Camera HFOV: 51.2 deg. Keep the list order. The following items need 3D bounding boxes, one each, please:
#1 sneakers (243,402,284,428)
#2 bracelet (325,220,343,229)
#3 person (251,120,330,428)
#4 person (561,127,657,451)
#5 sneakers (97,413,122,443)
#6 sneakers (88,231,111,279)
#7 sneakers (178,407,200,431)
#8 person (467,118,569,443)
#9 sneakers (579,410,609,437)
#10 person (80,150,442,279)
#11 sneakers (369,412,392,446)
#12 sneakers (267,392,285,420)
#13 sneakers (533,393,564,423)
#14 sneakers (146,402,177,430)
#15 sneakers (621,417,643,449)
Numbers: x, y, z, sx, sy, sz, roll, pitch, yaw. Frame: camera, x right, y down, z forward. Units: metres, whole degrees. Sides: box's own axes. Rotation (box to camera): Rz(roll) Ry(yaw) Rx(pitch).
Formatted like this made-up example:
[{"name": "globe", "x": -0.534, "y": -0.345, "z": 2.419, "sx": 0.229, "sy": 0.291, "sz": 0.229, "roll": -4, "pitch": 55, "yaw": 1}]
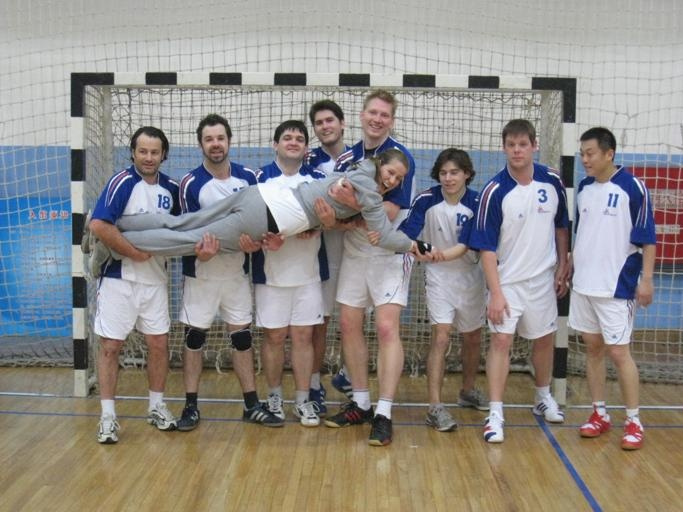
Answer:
[{"name": "sneakers", "x": -0.620, "y": 1.229, "z": 5.520, "sx": 0.349, "sy": 0.190, "sz": 0.143, "roll": 2, "pitch": -2, "yaw": 12}, {"name": "bracelet", "x": -0.069, "y": -0.238, "z": 5.287, "sx": 0.066, "sy": 0.037, "sz": 0.094, "roll": -10, "pitch": -10, "yaw": 17}, {"name": "person", "x": -0.396, "y": 0.155, "z": 5.498, "sx": 0.651, "sy": 2.333, "sz": 0.636, "roll": 0, "pitch": 5, "yaw": -6}, {"name": "person", "x": 1.992, "y": 0.338, "z": 5.272, "sx": 0.574, "sy": 2.032, "sz": 0.568, "roll": 3, "pitch": 12, "yaw": 23}, {"name": "sneakers", "x": -1.726, "y": 1.284, "z": 5.244, "sx": 0.108, "sy": 0.116, "sz": 0.236, "roll": 2, "pitch": 1, "yaw": -16}, {"name": "sneakers", "x": -1.803, "y": 0.012, "z": 5.308, "sx": 0.101, "sy": 0.256, "sz": 0.245, "roll": 5, "pitch": 34, "yaw": -41}, {"name": "sneakers", "x": -1.176, "y": 1.242, "z": 5.433, "sx": 0.169, "sy": 0.156, "sz": 0.130, "roll": -5, "pitch": 12, "yaw": -14}, {"name": "person", "x": 1.389, "y": 0.281, "z": 5.473, "sx": 0.967, "sy": 2.070, "sz": 0.479, "roll": -8, "pitch": 13, "yaw": -27}, {"name": "sneakers", "x": 1.926, "y": 1.299, "z": 5.427, "sx": 0.305, "sy": 0.180, "sz": 0.117, "roll": 5, "pitch": -12, "yaw": -44}, {"name": "person", "x": -0.558, "y": -0.324, "z": 5.293, "sx": 2.227, "sy": 0.730, "sz": 1.013, "roll": -16, "pitch": 37, "yaw": 0}, {"name": "sneakers", "x": 0.294, "y": 1.273, "z": 5.279, "sx": 0.170, "sy": 0.196, "sz": 0.243, "roll": -1, "pitch": 12, "yaw": 4}, {"name": "sneakers", "x": -0.514, "y": 1.183, "z": 5.576, "sx": 0.089, "sy": 0.111, "sz": 0.241, "roll": -6, "pitch": 31, "yaw": -11}, {"name": "sneakers", "x": 1.638, "y": 1.214, "z": 5.622, "sx": 0.117, "sy": 0.168, "sz": 0.265, "roll": 0, "pitch": 2, "yaw": -17}, {"name": "sneakers", "x": -1.372, "y": 1.226, "z": 5.483, "sx": 0.270, "sy": 0.171, "sz": 0.130, "roll": 9, "pitch": 8, "yaw": 42}, {"name": "sneakers", "x": 2.124, "y": 1.296, "z": 5.179, "sx": 0.119, "sy": 0.201, "sz": 0.173, "roll": 6, "pitch": 14, "yaw": 34}]
